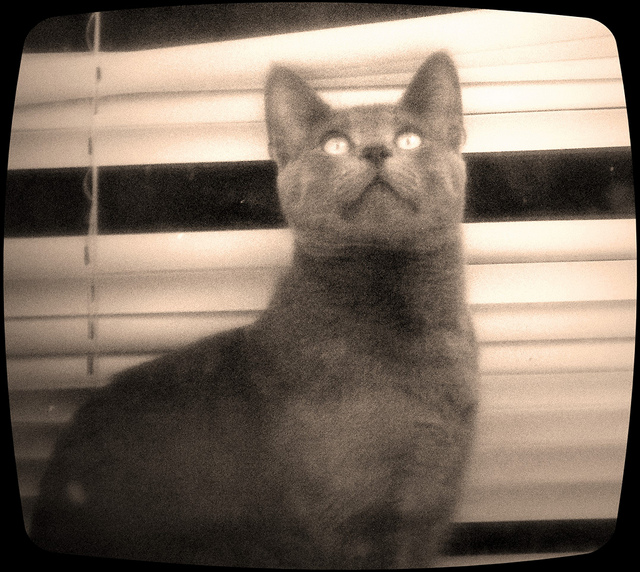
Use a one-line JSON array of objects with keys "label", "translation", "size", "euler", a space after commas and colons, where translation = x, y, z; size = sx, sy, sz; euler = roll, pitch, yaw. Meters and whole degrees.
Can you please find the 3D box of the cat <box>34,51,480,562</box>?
[{"label": "cat", "translation": [-0.068, 0.045, 1.663], "size": [0.730, 0.324, 0.911], "euler": [10, 71, 3]}]
